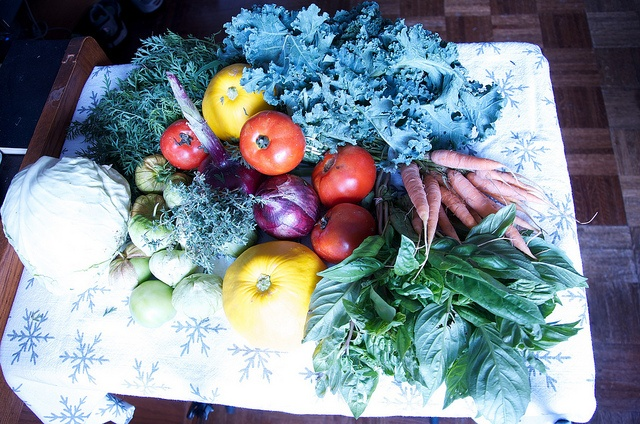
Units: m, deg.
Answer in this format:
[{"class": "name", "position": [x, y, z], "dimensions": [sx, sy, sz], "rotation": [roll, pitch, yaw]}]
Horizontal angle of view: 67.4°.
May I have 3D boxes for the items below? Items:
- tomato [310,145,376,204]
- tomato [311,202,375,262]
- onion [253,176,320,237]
[{"class": "tomato", "position": [0.082, -0.132, 1.715], "dimensions": [0.225, 0.109, 0.198], "rotation": [-12, 74, -3]}, {"class": "tomato", "position": [0.075, 0.072, 1.633], "dimensions": [0.188, 0.102, 0.122], "rotation": [-14, 41, -22]}, {"class": "onion", "position": [-0.112, -0.020, 1.656], "dimensions": [0.215, 0.259, 0.210], "rotation": [-6, 68, 17]}]
